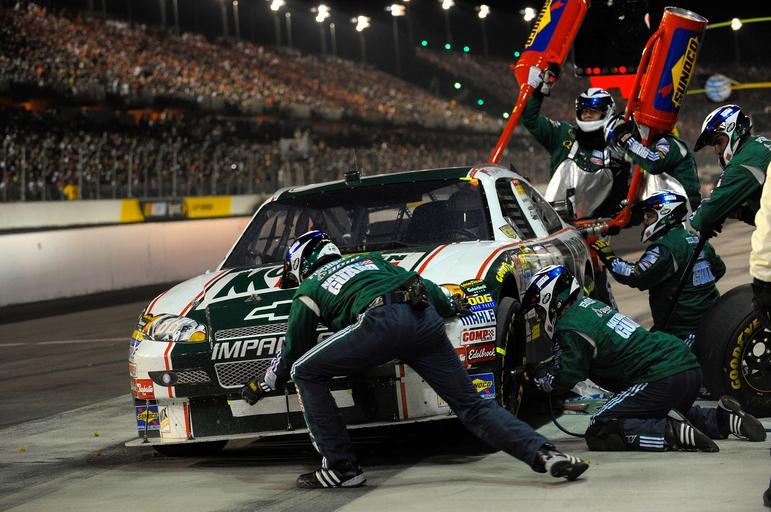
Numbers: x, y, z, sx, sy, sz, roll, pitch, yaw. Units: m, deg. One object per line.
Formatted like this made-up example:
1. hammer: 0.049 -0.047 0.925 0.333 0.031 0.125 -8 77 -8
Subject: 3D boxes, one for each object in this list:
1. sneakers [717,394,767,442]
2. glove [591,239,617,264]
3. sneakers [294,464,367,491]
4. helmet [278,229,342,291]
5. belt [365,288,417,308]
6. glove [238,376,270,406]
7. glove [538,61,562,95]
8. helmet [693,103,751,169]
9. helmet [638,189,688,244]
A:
1. sneakers: 3.260 1.561 8.659 0.294 0.483 0.187 -46 -6 15
2. glove: 2.397 -0.041 10.299 0.106 0.362 0.212 -43 -48 16
3. sneakers: -0.491 1.971 8.279 0.605 0.266 0.225 1 -2 10
4. helmet: -0.828 0.075 8.564 0.567 0.525 0.437 -3 -4 -3
5. belt: 0.043 0.379 8.037 0.403 0.147 0.042 -5 9 -1
6. glove: -1.163 1.216 8.333 0.273 0.209 0.109 -50 -6 17
7. glove: 2.204 -2.402 12.510 0.295 0.413 0.375 19 12 15
8. helmet: 3.538 -1.257 9.749 0.607 0.592 0.454 -26 1 10
9. helmet: 3.006 -0.412 10.177 0.572 0.551 0.446 -6 -6 11
